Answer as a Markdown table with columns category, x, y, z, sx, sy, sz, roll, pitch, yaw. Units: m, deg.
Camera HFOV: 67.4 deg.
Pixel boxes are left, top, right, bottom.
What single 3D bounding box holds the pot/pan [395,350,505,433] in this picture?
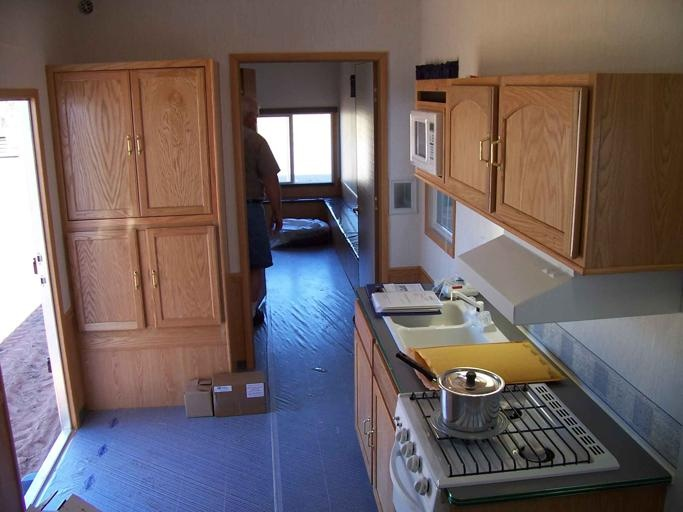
| category | x | y | z | sx | sy | sz | roll | pitch | yaw |
| --- | --- | --- | --- | --- | --- | --- | --- | --- | --- |
| pot/pan | 0.453 | 0.543 | 2.094 | 0.170 | 0.131 | 0.319 | -15 | 19 | -35 |

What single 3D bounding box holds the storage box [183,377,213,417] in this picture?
| category | x | y | z | sx | sy | sz | roll | pitch | yaw |
| --- | --- | --- | --- | --- | --- | --- | --- | --- | --- |
| storage box | -1.106 | 1.115 | 4.088 | 0.237 | 0.257 | 0.252 | 0 | 19 | -3 |

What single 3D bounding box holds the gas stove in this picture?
| category | x | y | z | sx | sy | sz | roll | pitch | yaw |
| --- | --- | --- | --- | --- | --- | --- | --- | --- | --- |
| gas stove | 0.621 | 0.741 | 2.173 | 0.744 | 0.137 | 0.786 | -6 | 7 | 1 |

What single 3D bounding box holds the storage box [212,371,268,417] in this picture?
| category | x | y | z | sx | sy | sz | roll | pitch | yaw |
| --- | --- | --- | --- | --- | --- | --- | --- | --- | --- |
| storage box | -0.802 | 1.090 | 4.020 | 0.411 | 0.311 | 0.310 | 0 | 23 | -6 |
